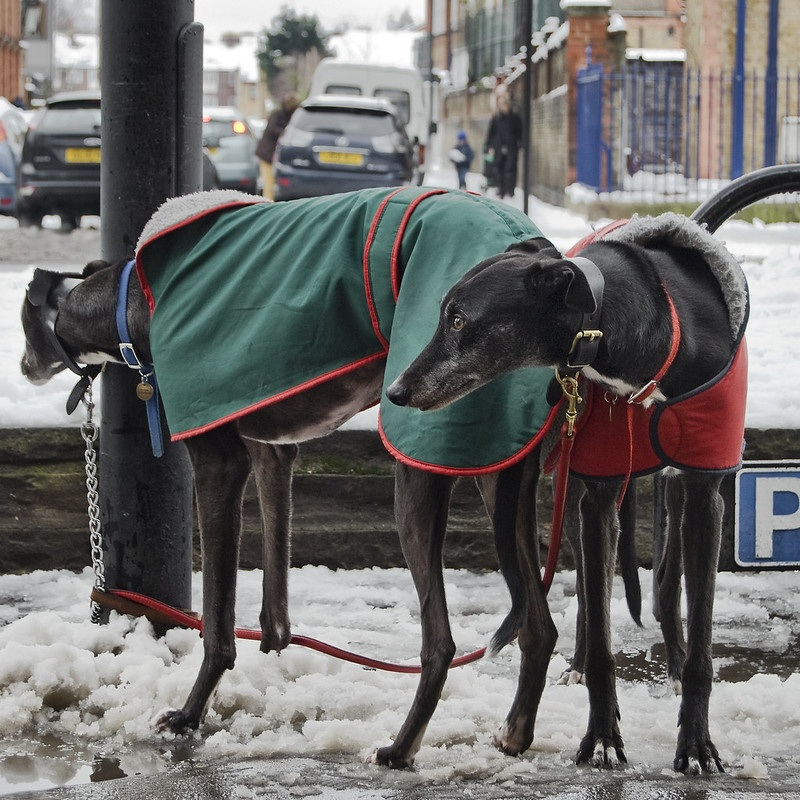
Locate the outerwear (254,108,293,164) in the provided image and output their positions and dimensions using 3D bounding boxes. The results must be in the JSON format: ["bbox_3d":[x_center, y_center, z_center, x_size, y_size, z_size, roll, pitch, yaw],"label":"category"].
[{"bbox_3d":[-1.112,-2.410,19.251,0.173,0.522,0.306,26,15,-30],"label":"outerwear"}]

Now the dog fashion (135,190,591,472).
[{"bbox_3d":[-0.148,-0.297,7.382,1.651,0.956,0.990,0,9,33],"label":"dog fashion"}]

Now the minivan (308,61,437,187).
[{"bbox_3d":[-0.426,-3.751,28.260,1.586,1.416,2.584,2,8,2],"label":"minivan"}]

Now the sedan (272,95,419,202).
[{"bbox_3d":[-0.520,-2.308,19.265,1.111,0.885,1.930,1,12,5],"label":"sedan"}]

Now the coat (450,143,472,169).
[{"bbox_3d":[0.803,-3.111,26.613,0.308,0.411,0.164,-4,2,-5],"label":"coat"}]
